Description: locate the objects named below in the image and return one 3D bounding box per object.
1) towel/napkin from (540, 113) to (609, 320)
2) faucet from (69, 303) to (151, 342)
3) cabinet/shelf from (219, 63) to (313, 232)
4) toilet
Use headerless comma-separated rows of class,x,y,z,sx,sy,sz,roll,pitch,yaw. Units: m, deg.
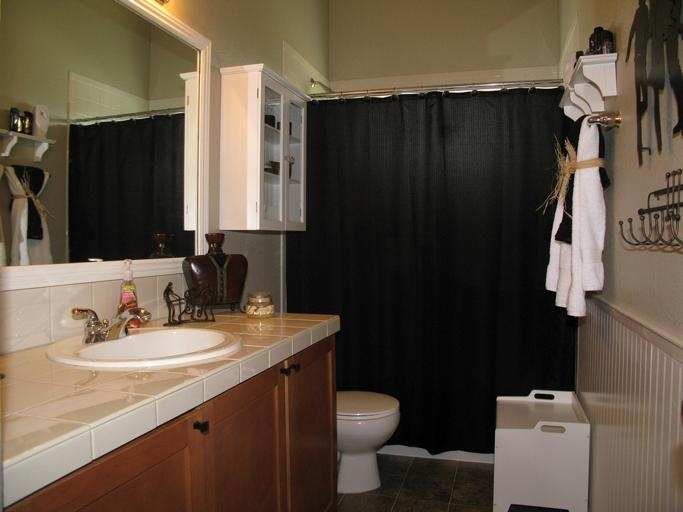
towel/napkin,1.150,-0.184,2.569,0.254,0.934,0.491,8,9,18
faucet,-0.870,0.251,2.033,0.273,0.145,0.087,-2,22,0
cabinet/shelf,-0.407,-0.584,3.023,0.336,0.884,0.635,11,10,32
toilet,0.139,1.065,3.107,0.481,0.470,0.426,-2,2,14
